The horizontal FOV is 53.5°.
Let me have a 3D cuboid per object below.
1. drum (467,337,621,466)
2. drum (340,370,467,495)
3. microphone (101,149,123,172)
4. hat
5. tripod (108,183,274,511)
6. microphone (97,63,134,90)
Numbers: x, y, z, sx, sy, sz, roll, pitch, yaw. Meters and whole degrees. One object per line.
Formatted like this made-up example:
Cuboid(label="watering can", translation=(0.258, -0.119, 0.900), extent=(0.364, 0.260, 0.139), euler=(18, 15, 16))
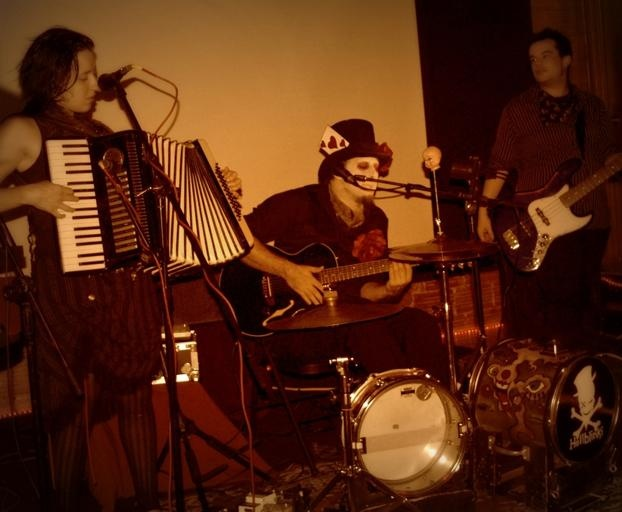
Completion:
Cuboid(label="drum", translation=(1.147, 0.663, 2.964), extent=(0.525, 0.608, 0.613), euler=(1, 8, -28))
Cuboid(label="drum", translation=(0.437, 0.811, 2.981), extent=(0.507, 0.573, 0.396), euler=(-4, 7, -11))
Cuboid(label="microphone", translation=(-0.738, -0.353, 2.286), extent=(0.079, 0.087, 0.019), euler=(-7, 6, -24))
Cuboid(label="hat", translation=(0.297, -0.705, 4.093), extent=(0.436, 0.250, 0.419), euler=(-16, -31, 34))
Cuboid(label="tripod", translation=(-0.525, 0.449, 2.850), extent=(0.473, 1.163, 1.322), euler=(-10, -3, -8))
Cuboid(label="microphone", translation=(-0.835, -0.762, 2.635), extent=(0.155, 0.098, 0.181), euler=(-10, -3, -18))
